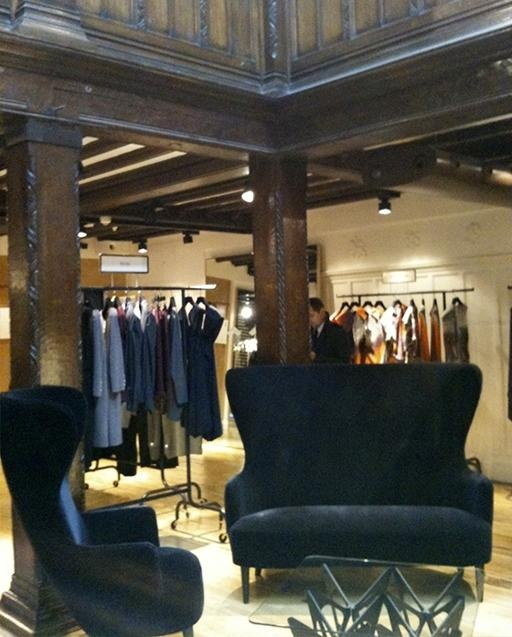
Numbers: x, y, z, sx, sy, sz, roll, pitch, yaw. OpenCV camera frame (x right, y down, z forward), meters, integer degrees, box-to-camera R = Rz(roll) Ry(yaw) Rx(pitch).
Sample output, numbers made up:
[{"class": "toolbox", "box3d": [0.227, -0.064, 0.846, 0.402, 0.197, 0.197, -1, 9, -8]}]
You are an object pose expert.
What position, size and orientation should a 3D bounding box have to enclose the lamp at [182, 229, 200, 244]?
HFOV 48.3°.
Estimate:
[{"class": "lamp", "box3d": [-0.795, -1.015, 7.148, 0.234, 0.207, 0.137, -2, -1, -25]}]
